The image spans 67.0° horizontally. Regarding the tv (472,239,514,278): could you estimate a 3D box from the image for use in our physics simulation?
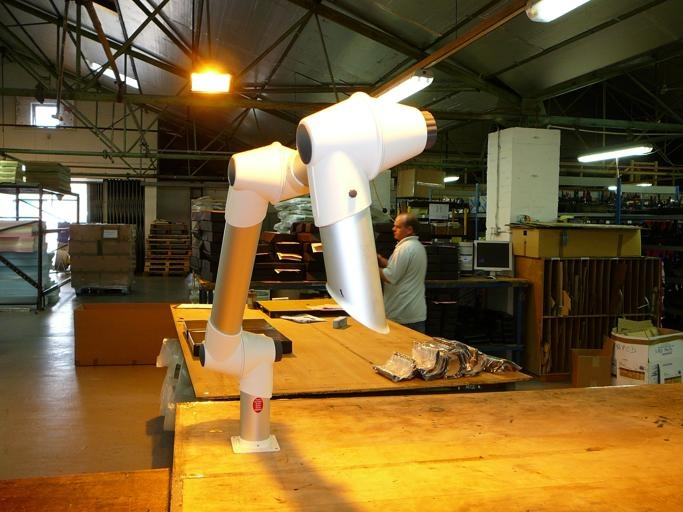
[{"bbox_3d":[1.965,0.028,6.682,0.605,0.491,0.201,-1,-5,21],"label":"tv"}]

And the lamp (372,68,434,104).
[{"bbox_3d":[0.788,-2.032,6.247,0.311,0.266,0.893,-1,5,-14],"label":"lamp"}]

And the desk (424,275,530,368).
[{"bbox_3d":[1.758,0.758,6.828,1.262,1.246,1.474,-3,7,-19],"label":"desk"}]

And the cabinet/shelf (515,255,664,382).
[{"bbox_3d":[2.748,0.706,5.852,1.907,1.460,0.688,1,0,-7],"label":"cabinet/shelf"}]

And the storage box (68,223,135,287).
[{"bbox_3d":[-5.615,-0.004,12.363,1.702,1.375,1.462,0,0,-9],"label":"storage box"}]

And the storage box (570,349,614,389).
[{"bbox_3d":[2.369,1.069,4.992,0.411,0.316,0.363,1,1,1],"label":"storage box"}]

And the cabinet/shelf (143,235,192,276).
[{"bbox_3d":[-5.168,-0.100,15.745,1.565,0.904,1.398,-1,5,-21],"label":"cabinet/shelf"}]
